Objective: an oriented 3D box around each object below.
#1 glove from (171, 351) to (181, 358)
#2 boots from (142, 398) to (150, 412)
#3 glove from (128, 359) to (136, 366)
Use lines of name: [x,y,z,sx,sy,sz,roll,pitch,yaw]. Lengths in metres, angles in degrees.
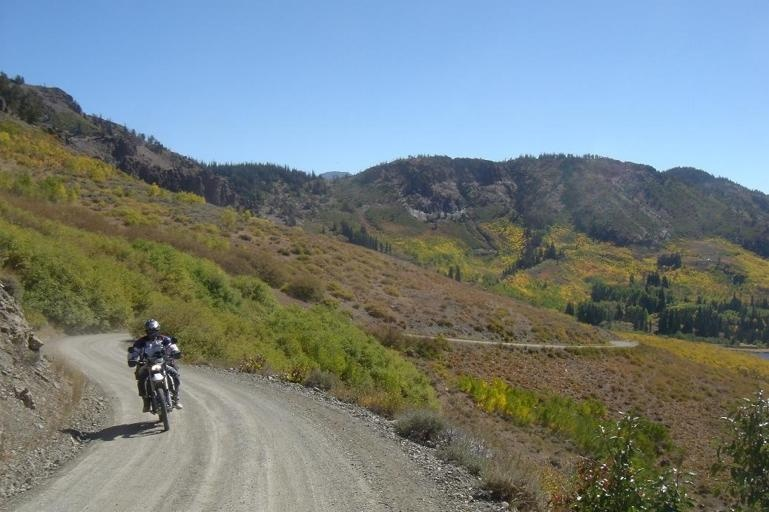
glove: [-14.051,6.679,45.364,0.577,0.466,0.434,1,-15,10]
boots: [-16.007,9.936,44.952,0.629,0.984,0.262,8,-2,27]
glove: [-16.902,7.181,45.028,0.531,0.416,0.404,0,-8,-11]
